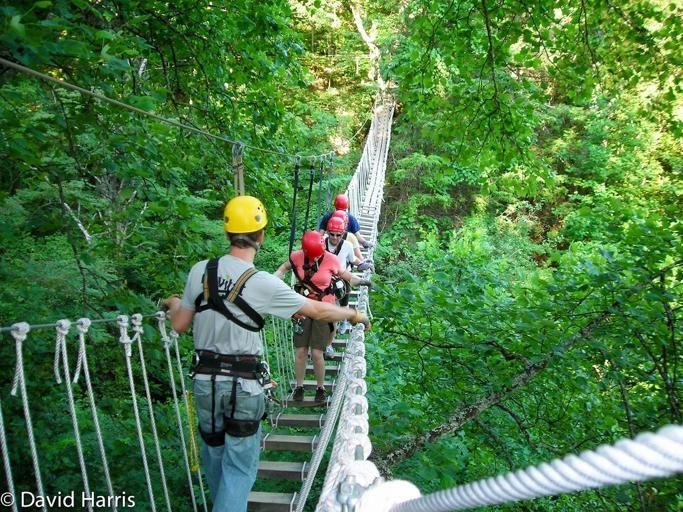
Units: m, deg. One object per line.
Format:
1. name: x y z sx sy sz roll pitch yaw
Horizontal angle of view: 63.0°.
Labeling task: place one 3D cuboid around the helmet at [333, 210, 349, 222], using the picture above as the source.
1. helmet: -0.017 -0.424 5.730 0.158 0.133 0.118 -13 38 -36

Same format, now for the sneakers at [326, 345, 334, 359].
1. sneakers: -0.132 1.065 6.236 0.086 0.090 0.209 -1 -11 1

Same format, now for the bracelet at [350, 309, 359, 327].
1. bracelet: 0.080 0.376 3.339 0.029 0.070 0.062 7 12 2

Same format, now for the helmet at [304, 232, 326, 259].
1. helmet: -0.229 -0.134 4.670 0.180 0.205 0.222 0 43 3

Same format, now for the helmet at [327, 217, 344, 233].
1. helmet: -0.040 -0.295 5.378 0.126 0.128 0.161 12 17 -17

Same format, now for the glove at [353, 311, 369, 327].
1. glove: 0.117 0.379 3.383 0.084 0.039 0.109 2 -24 4

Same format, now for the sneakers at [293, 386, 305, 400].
1. sneakers: -0.406 1.293 5.266 0.070 0.063 0.156 2 5 -5

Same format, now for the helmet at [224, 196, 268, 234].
1. helmet: -0.548 -0.243 3.143 0.196 0.132 0.232 -4 16 -5
